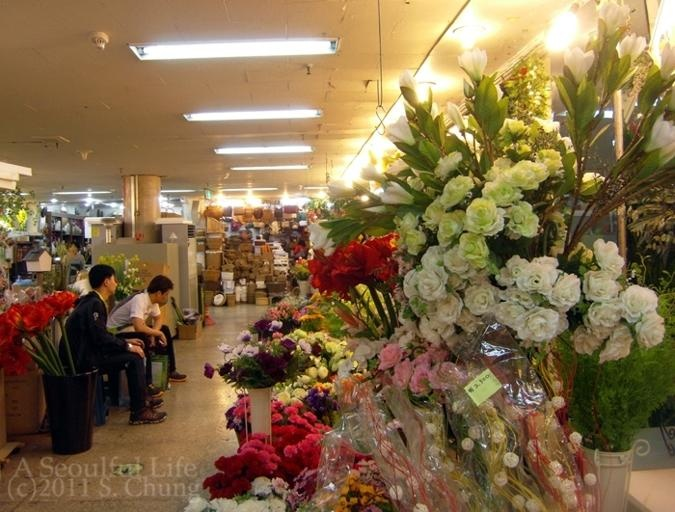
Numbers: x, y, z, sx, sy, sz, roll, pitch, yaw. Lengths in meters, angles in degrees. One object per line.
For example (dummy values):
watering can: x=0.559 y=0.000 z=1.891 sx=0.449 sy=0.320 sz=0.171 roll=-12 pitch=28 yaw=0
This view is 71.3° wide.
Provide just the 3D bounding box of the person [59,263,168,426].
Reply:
person: x=-2.154 y=0.829 z=4.546 sx=1.012 sy=1.438 sz=0.604 roll=3 pitch=-8 yaw=-26

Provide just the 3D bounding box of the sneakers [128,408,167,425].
sneakers: x=-1.825 y=1.515 z=4.512 sx=0.314 sy=0.141 sz=0.141 roll=-2 pitch=0 yaw=-12

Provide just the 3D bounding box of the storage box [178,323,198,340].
storage box: x=-2.513 y=1.257 z=7.867 sx=0.256 sy=0.156 sz=0.258 roll=0 pitch=1 yaw=-11

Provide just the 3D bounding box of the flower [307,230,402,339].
flower: x=0.085 y=0.080 z=1.526 sx=0.320 sy=0.322 sz=0.319 roll=-10 pitch=-11 yaw=10

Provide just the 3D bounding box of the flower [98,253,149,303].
flower: x=-2.860 y=0.311 z=6.463 sx=0.488 sy=0.668 sz=0.606 roll=6 pitch=3 yaw=27

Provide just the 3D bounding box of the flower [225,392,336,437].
flower: x=-0.365 y=0.878 z=2.630 sx=0.411 sy=0.162 sz=0.367 roll=-2 pitch=-7 yaw=20

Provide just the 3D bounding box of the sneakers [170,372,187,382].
sneakers: x=-1.937 y=1.467 z=5.732 sx=0.218 sy=0.097 sz=0.079 roll=0 pitch=1 yaw=-8

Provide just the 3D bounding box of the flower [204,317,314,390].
flower: x=-0.381 y=0.527 z=2.422 sx=0.582 sy=0.345 sz=0.487 roll=6 pitch=-8 yaw=-8

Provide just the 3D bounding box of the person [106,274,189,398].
person: x=-2.127 y=0.813 z=5.293 sx=0.877 sy=1.215 sz=0.816 roll=5 pitch=0 yaw=-40

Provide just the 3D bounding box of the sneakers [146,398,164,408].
sneakers: x=-1.862 y=1.498 z=4.814 sx=0.181 sy=0.076 sz=0.065 roll=-2 pitch=10 yaw=-2

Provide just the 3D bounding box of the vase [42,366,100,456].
vase: x=-2.185 y=1.273 z=3.837 sx=0.406 sy=0.570 sz=0.392 roll=-8 pitch=-13 yaw=-3

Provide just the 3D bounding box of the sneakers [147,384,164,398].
sneakers: x=-2.019 y=1.469 z=5.130 sx=0.221 sy=0.100 sz=0.082 roll=-1 pitch=4 yaw=23
